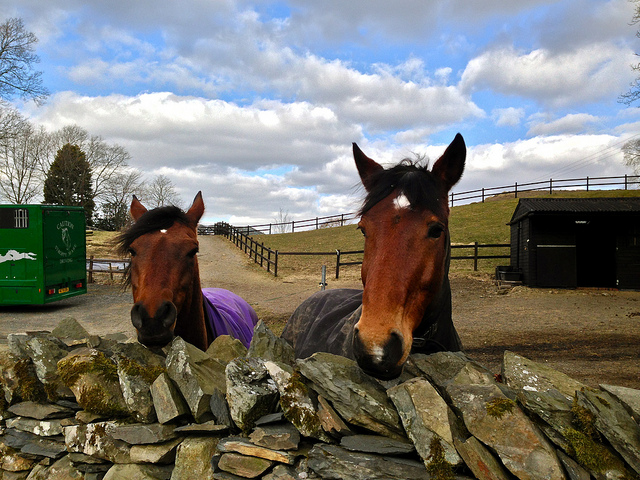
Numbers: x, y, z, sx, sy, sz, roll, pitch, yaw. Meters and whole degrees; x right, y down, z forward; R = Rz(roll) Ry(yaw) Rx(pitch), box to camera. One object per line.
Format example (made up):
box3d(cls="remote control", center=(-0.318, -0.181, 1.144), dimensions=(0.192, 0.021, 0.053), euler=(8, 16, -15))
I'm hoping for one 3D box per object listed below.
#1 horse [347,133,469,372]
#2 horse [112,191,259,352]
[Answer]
box3d(cls="horse", center=(0.745, 0.087, 4.106), dimensions=(0.964, 1.998, 1.426), euler=(0, 1, 13))
box3d(cls="horse", center=(-1.646, 0.501, 5.904), dimensions=(0.815, 2.206, 2.973), euler=(0, 1, 7))
